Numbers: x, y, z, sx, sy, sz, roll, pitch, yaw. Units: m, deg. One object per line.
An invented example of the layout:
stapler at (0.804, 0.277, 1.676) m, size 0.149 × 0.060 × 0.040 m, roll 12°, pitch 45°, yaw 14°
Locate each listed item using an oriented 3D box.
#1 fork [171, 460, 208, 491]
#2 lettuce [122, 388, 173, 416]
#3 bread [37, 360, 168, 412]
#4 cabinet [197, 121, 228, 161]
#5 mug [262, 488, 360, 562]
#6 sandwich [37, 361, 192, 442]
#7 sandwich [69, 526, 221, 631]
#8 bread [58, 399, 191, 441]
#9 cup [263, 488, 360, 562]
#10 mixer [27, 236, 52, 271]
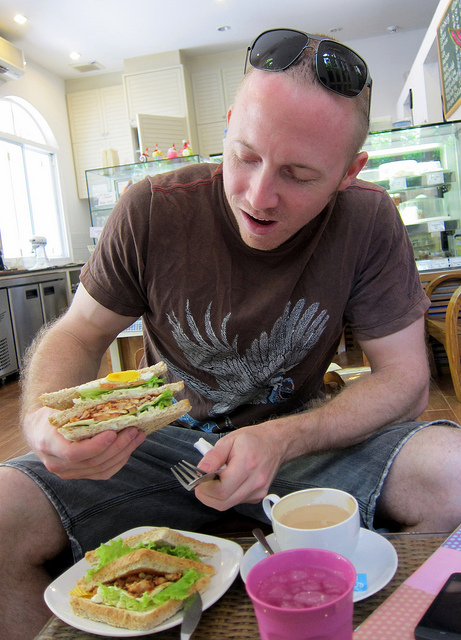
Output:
fork at (-0.061, 0.234, 0.708) m, size 0.037 × 0.012 × 0.062 m, roll -17°, pitch 46°, yaw -41°
lettuce at (-0.147, 0.144, 0.821) m, size 0.044 × 0.015 × 0.041 m, roll -21°, pitch -10°, yaw -33°
bread at (-0.250, 0.127, 0.896) m, size 0.159 × 0.044 × 0.035 m, roll -17°, pitch 52°, yaw -17°
cabinet at (-0.302, -2.932, 7.565) m, size 0.468 × 0.564 × 0.441 m, roll -7°, pitch 7°, yaw 7°
mug at (0.096, 0.281, 0.644) m, size 0.119 × 0.082 × 0.096 m, roll -7°, pitch -34°, yaw 31°
sandwich at (-0.194, 0.133, 0.816) m, size 0.224 × 0.090 × 0.126 m, roll -15°, pitch 29°, yaw -29°
sandwich at (-0.114, 0.318, 0.638) m, size 0.106 × 0.050 × 0.140 m, roll 5°, pitch 15°, yaw 30°
bread at (-0.172, 0.176, 0.800) m, size 0.116 × 0.039 × 0.090 m, roll -13°, pitch -4°, yaw -27°
cup at (0.100, 0.249, 0.628) m, size 0.093 × 0.078 × 0.112 m, roll -13°, pitch 10°, yaw -35°
mixer at (-2.662, -0.959, 6.621) m, size 0.209 × 0.317 × 0.463 m, roll -11°, pitch 8°, yaw -21°
